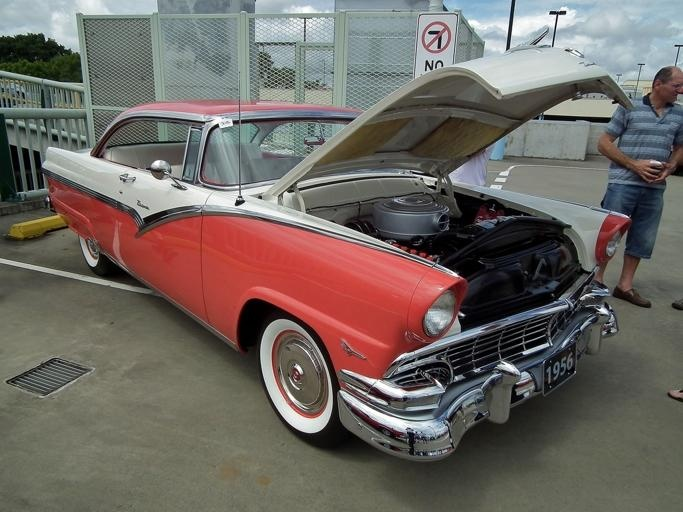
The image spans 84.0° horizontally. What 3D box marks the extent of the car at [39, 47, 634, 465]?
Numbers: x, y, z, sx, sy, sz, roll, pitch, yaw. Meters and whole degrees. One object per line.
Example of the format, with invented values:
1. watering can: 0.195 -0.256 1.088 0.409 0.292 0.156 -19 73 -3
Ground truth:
1. car: -0.371 -0.403 3.101 4.339 1.697 2.297 19 31 35

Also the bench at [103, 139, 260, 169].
1. bench: -1.517 -0.907 3.390 0.946 0.291 0.708 12 15 25
